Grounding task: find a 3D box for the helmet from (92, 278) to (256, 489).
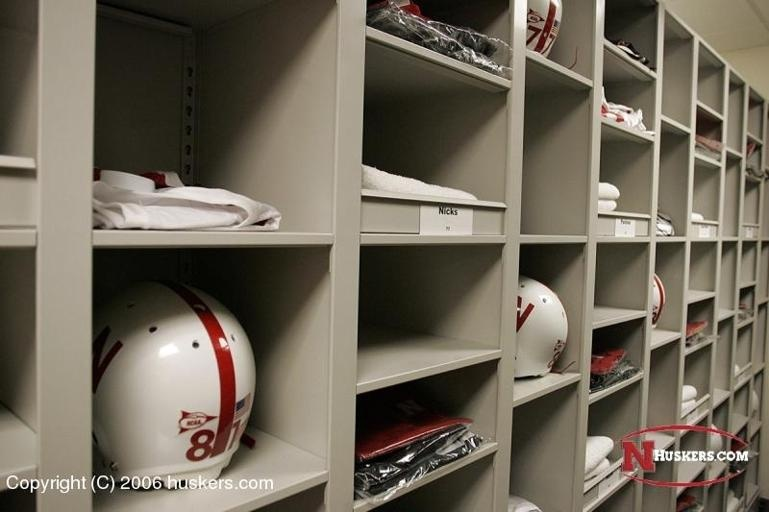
[{"bbox_3d":[-0.562,0.285,1.356,0.316,0.371,0.417,3,-3,-39],"label":"helmet"}]
